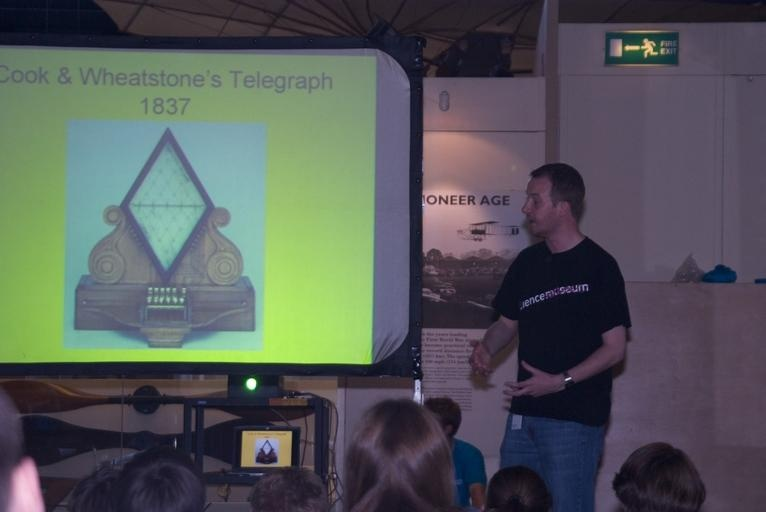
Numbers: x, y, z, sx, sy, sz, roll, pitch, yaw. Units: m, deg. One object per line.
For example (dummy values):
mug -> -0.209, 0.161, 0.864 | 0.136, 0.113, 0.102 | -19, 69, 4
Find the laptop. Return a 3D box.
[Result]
laptop -> -0.698, 1.125, 5.945 | 0.460, 0.268, 0.344 | -1, -6, 6

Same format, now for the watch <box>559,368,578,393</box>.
watch -> 1.055, 0.722, 5.995 | 0.083, 0.102, 0.098 | -21, 46, -13
